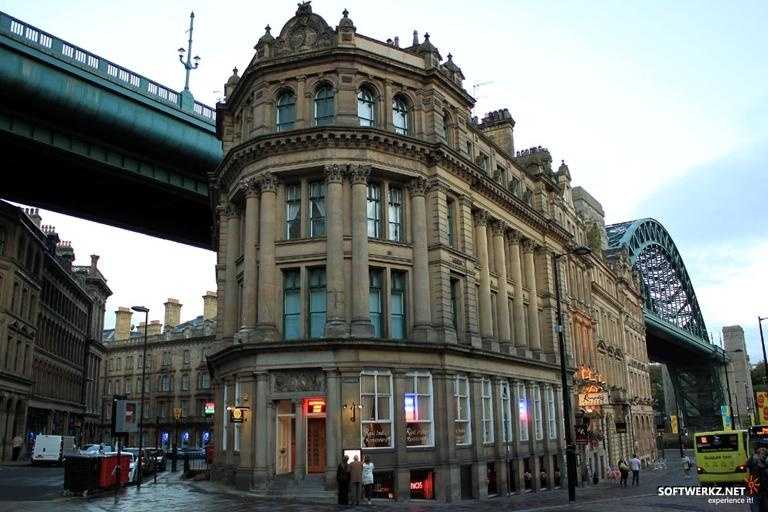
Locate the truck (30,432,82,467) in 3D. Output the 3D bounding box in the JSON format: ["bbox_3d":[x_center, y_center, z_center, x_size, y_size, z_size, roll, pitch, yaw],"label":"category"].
[{"bbox_3d":[-30.793,18.031,59.661,3.148,2.624,3.023,7,-14,-36],"label":"truck"}]
